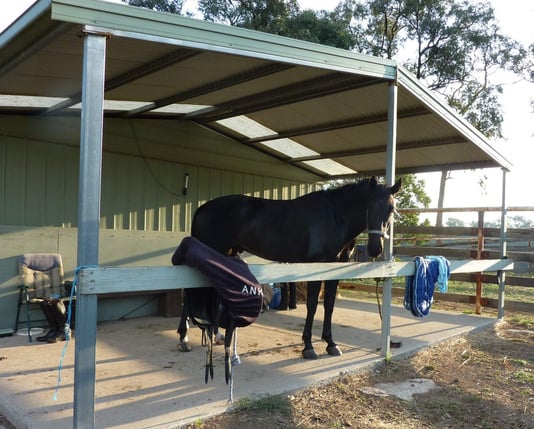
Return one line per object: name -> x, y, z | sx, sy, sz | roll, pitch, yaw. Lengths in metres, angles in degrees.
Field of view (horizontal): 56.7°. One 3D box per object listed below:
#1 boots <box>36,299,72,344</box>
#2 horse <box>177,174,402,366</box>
boots -> -2.587, 1.270, 5.927 | 0.335, 0.492, 0.281 | 1, 4, -26
horse -> 0.153, 0.602, 5.762 | 2.483, 1.906, 0.660 | 0, -10, 15
